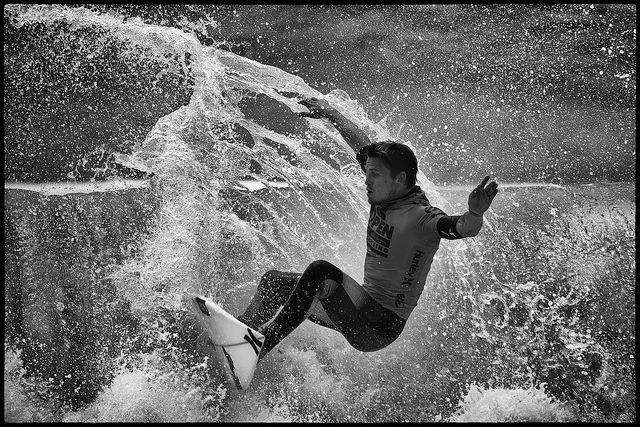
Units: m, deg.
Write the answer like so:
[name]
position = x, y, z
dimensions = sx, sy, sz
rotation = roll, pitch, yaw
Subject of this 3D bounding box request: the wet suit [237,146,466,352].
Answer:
[wet suit]
position = 0.265, 0.289, 5.709
dimensions = 0.830, 1.405, 1.163
rotation = 27, 8, -18

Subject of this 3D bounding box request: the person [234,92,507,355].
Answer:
[person]
position = 0.449, 0.064, 5.820
dimensions = 0.963, 1.524, 1.511
rotation = 23, 17, -16
